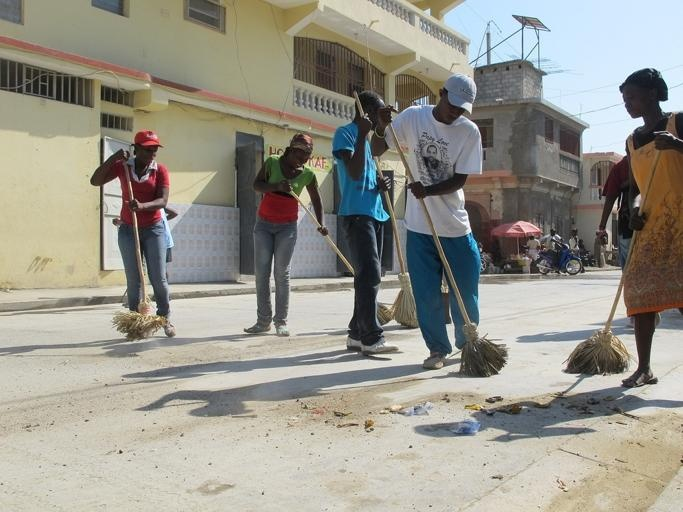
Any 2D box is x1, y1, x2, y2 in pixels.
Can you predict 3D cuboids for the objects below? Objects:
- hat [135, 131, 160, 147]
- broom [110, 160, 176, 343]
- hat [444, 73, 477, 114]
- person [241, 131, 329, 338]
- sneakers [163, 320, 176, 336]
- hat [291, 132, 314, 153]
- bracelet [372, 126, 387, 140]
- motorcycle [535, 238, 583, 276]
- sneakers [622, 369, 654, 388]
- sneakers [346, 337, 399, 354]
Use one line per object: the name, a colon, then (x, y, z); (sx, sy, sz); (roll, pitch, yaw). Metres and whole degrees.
hat: (-1.893, -1.128, 7.031); (0.243, 0.118, 0.180); (3, 5, 22)
broom: (-1.903, -0.043, 6.959); (0.565, 1.707, 0.746); (-2, 6, -16)
hat: (0.883, -1.218, 5.449); (0.234, 0.256, 0.202); (-1, 6, -3)
person: (-0.598, -0.207, 7.310); (0.795, 2.042, 0.613); (-1, 6, -8)
sneakers: (-1.680, 0.736, 7.210); (0.112, 0.172, 0.179); (3, -11, -31)
hat: (-0.409, -1.116, 7.214); (0.221, 0.196, 0.421); (-1, 6, -5)
bracelet: (0.305, -1.004, 5.924); (0.084, 0.108, 0.094); (37, 16, 9)
motorcycle: (7.159, 0.091, 23.910); (1.734, 1.167, 0.893); (-1, -3, 22)
sneakers: (2.001, 0.838, 4.956); (0.281, 0.121, 0.091); (4, -11, -20)
sneakers: (0.256, 0.774, 6.264); (0.420, 0.165, 0.155); (-1, -1, 5)
